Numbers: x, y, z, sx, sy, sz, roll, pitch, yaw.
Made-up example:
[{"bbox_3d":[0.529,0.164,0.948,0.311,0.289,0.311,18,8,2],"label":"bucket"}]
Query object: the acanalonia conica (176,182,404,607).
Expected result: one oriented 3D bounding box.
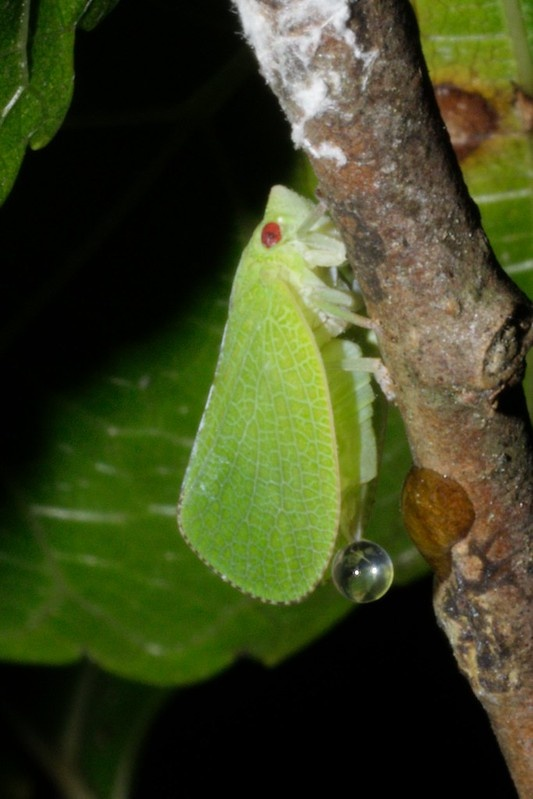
[{"bbox_3d":[0.017,0.003,0.970,0.167,0.448,0.328,3,13,-13],"label":"acanalonia conica"}]
